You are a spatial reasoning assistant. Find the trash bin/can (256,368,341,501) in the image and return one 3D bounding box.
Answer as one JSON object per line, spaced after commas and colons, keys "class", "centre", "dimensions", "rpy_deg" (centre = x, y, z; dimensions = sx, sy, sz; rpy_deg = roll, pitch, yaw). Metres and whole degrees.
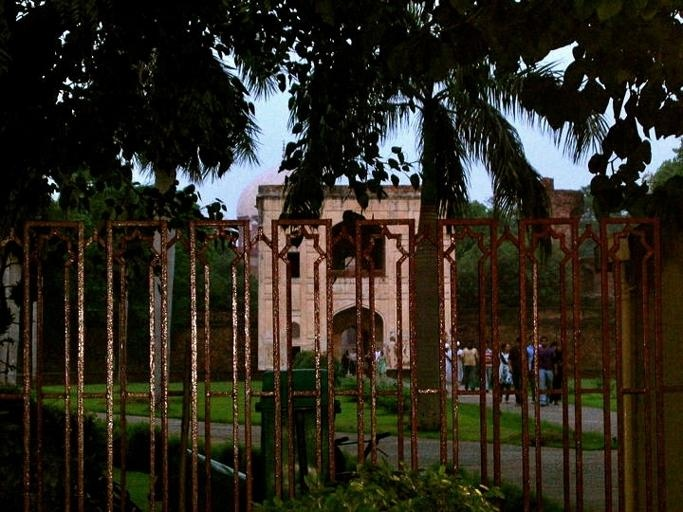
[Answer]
{"class": "trash bin/can", "centre": [-0.339, 1.289, 8.895], "dimensions": [0.689, 1.520, 0.815], "rpy_deg": [0, -3, -3]}
